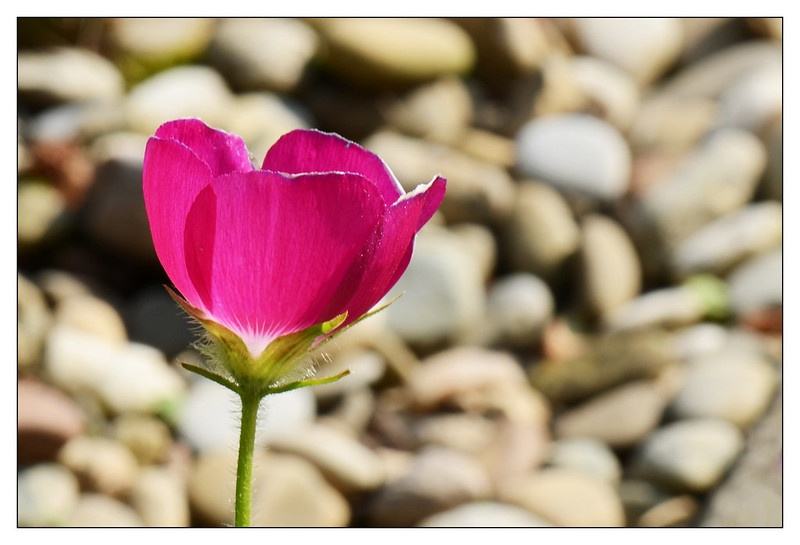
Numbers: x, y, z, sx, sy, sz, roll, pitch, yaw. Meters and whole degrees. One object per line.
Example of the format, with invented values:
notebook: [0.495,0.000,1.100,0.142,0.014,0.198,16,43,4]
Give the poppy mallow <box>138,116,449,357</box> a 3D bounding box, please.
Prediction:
poppy mallow: [-0.114,-0.029,0.840,0.244,0.185,0.228,17,2,16]
